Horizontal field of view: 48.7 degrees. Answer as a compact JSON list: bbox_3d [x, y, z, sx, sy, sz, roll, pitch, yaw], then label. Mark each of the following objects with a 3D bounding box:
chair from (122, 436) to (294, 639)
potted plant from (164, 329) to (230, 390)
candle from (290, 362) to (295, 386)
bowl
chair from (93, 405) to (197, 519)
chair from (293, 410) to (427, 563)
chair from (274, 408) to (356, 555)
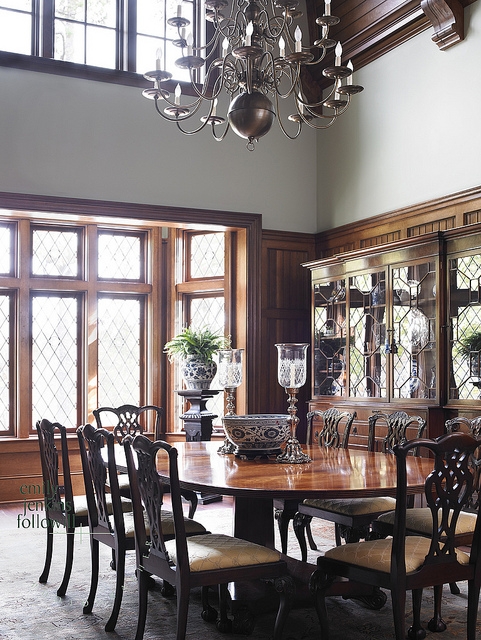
[{"bbox_3d":[-0.152,0.779,1.886,0.449,0.860,0.552,-4,3,-35],"label":"chair"},{"bbox_3d":[-0.419,0.414,5.475,0.561,0.580,0.584,-2,-8,17],"label":"potted plant"},{"bbox_3d":[0.247,0.259,2.520,0.028,0.110,0.008,-2,2,-7],"label":"candle"},{"bbox_3d":[0.084,0.542,2.617,0.294,0.184,0.306,15,-5,1],"label":"bowl"},{"bbox_3d":[-0.646,0.954,3.419,0.580,0.904,0.655,0,-15,-11],"label":"chair"},{"bbox_3d":[0.468,0.885,2.809,0.473,0.707,0.425,10,-4,-6],"label":"chair"},{"bbox_3d":[0.457,1.115,3.519,0.372,0.841,0.427,13,-13,0],"label":"chair"}]
